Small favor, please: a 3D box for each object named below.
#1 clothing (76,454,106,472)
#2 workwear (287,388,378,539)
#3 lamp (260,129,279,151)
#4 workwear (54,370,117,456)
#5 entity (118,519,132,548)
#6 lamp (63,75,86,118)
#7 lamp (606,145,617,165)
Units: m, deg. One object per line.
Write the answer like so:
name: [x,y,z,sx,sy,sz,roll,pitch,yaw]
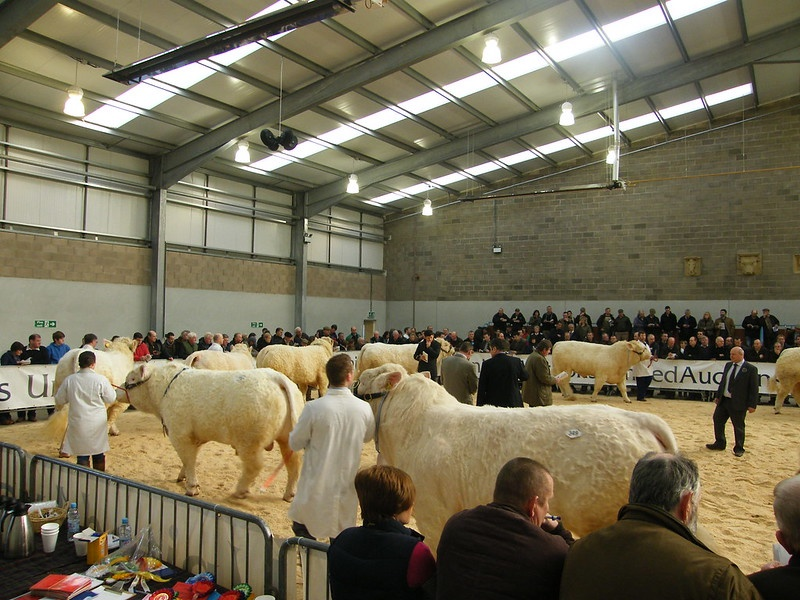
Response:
clothing: [-3.587,1.899,7.221,0.278,0.237,0.452,2,-5,-27]
workwear: [-0.604,1.425,5.431,0.728,1.281,0.230,1,-3,-10]
lamp: [-2.678,-3.312,12.820,0.358,0.431,0.330,1,-4,-6]
workwear: [-3.607,1.347,7.175,0.612,1.406,0.504,-1,4,-19]
entity: [-2.254,1.901,5.094,0.094,0.196,0.290,2,-5,-23]
lamp: [-5.074,-3.208,9.693,0.328,0.608,0.293,-2,23,-33]
lamp: [5.137,-3.567,15.154,0.178,0.506,0.495,-1,-4,17]
